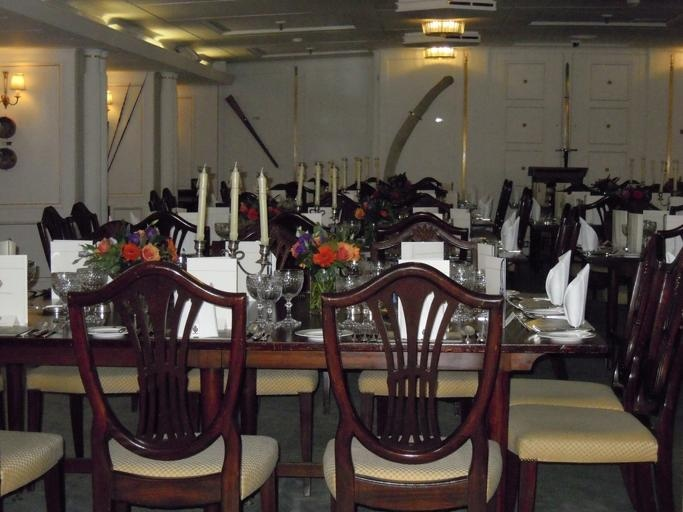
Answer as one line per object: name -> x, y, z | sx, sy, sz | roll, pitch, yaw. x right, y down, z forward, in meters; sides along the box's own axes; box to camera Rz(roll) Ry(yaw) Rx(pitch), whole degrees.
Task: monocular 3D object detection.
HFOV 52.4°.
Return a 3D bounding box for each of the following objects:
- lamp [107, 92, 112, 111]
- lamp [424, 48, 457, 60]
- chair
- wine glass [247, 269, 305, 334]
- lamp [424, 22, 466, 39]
lamp -> -3.574, -2.386, 10.710 | 0.082, 0.290, 0.080 | 5, 8, 43
lamp -> 1.610, -3.229, 11.082 | 0.504, 0.164, 0.294 | -2, 6, -10
chair -> -0.138, 0.493, 2.456 | 2.304, 0.979, 0.555 | -1, 6, -3
wine glass -> -0.276, 0.195, 2.894 | 0.209, 0.230, 0.102 | -3, 4, -40
lamp -> 1.441, -3.206, 9.781 | 0.444, 0.214, 0.727 | 2, 7, 28
